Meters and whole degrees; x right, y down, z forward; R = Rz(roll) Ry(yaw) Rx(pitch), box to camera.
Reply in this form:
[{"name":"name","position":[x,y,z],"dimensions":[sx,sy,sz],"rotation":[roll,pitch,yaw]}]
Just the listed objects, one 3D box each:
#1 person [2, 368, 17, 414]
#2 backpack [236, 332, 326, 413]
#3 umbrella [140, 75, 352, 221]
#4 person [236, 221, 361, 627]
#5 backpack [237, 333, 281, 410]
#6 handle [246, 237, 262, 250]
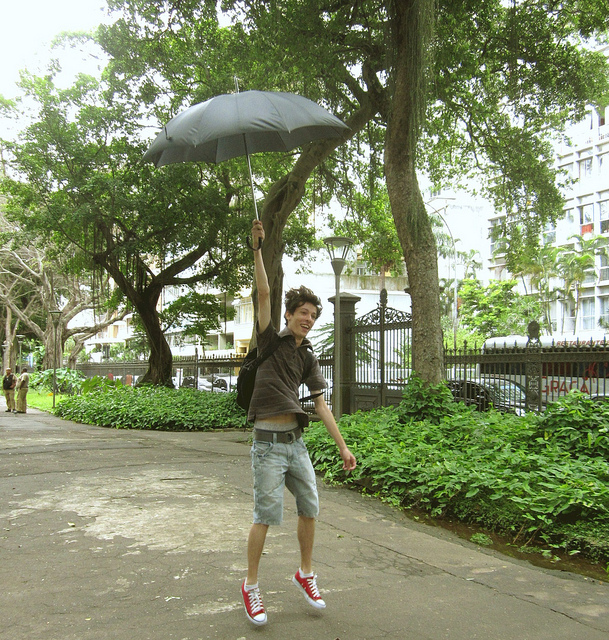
[{"name":"person","position":[-10.084,2.438,21.927],"dimensions":[0.394,1.340,2.692],"rotation":[0,-1,-26]},{"name":"backpack","position":[-0.251,0.379,4.258],"dimensions":[0.509,0.541,0.355],"rotation":[17,-6,18]},{"name":"umbrella","position":[-0.483,-1.326,5.322],"dimensions":[1.490,1.397,1.648],"rotation":[-5,12,9]},{"name":"person","position":[-0.102,0.609,4.491],"dimensions":[0.738,2.450,1.592],"rotation":[0,0,-6]},{"name":"backpack","position":[-0.324,0.446,4.201],"dimensions":[0.259,0.384,0.411],"rotation":[14,-31,-9]},{"name":"handle","position":[-0.289,-0.460,3.922],"dimensions":[0.113,0.030,0.121],"rotation":[-5,-12,33]}]
